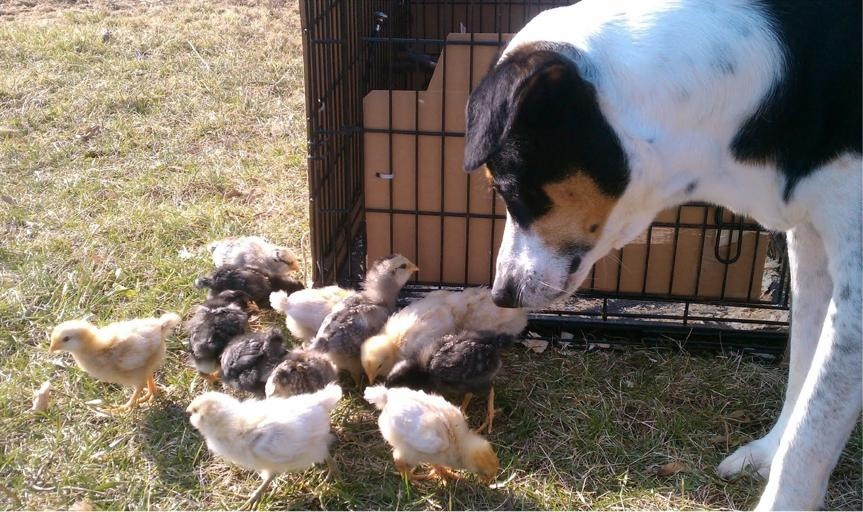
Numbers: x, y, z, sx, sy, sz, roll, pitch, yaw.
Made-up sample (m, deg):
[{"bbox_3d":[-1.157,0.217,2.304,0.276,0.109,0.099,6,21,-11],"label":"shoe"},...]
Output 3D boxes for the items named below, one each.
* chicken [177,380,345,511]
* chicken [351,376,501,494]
[{"bbox_3d":[-1.041,1.136,5.217,1.071,0.876,0.588,-15,13,2],"label":"chicken"},{"bbox_3d":[0.001,1.283,5.242,0.968,0.591,0.484,37,-3,15],"label":"chicken"}]
